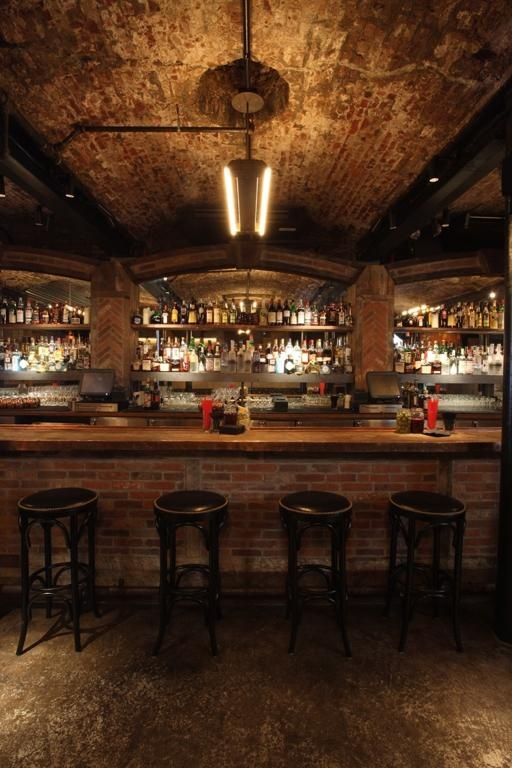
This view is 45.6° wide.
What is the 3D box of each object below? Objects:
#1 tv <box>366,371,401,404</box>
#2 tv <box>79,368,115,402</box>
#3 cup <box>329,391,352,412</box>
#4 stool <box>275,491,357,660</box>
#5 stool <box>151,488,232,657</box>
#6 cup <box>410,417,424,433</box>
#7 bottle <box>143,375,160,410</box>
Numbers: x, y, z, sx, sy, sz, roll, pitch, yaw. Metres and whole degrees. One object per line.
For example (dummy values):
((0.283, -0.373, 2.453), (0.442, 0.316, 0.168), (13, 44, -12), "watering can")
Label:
((1.400, 0.048, 6.727), (0.361, 0.313, 0.304), (1, 13, 0), "tv")
((-1.761, 0.020, 6.721), (0.375, 0.328, 0.315), (0, 13, -2), "tv")
((0.984, 0.217, 7.111), (0.225, 0.184, 0.172), (0, -3, 4), "cup")
((0.338, 0.997, 3.502), (0.405, 0.835, 0.756), (2, 13, 6), "stool")
((-0.374, 1.000, 3.476), (0.390, 0.859, 0.763), (-1, 13, -6), "stool")
((1.051, 0.274, 4.041), (0.085, 0.101, 0.089), (0, -3, 0), "cup")
((-1.243, 0.115, 7.198), (0.194, 0.206, 0.608), (-10, 29, -9), "bottle")
